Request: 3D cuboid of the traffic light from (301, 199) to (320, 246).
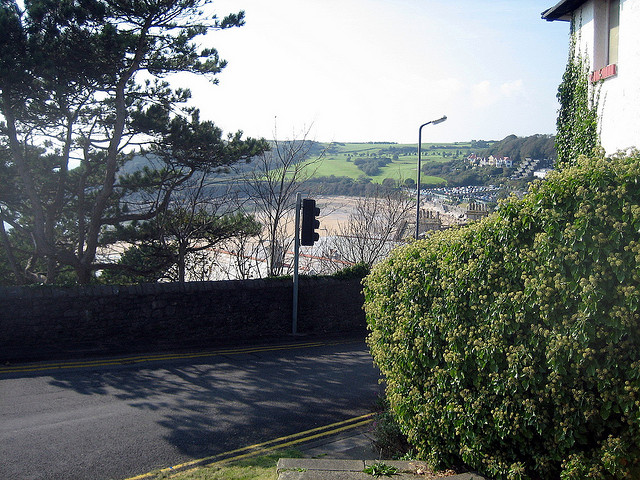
[{"bbox_3d":[-0.307,-0.565,17.605,0.547,1.513,0.596,3,5,-2],"label":"traffic light"}]
